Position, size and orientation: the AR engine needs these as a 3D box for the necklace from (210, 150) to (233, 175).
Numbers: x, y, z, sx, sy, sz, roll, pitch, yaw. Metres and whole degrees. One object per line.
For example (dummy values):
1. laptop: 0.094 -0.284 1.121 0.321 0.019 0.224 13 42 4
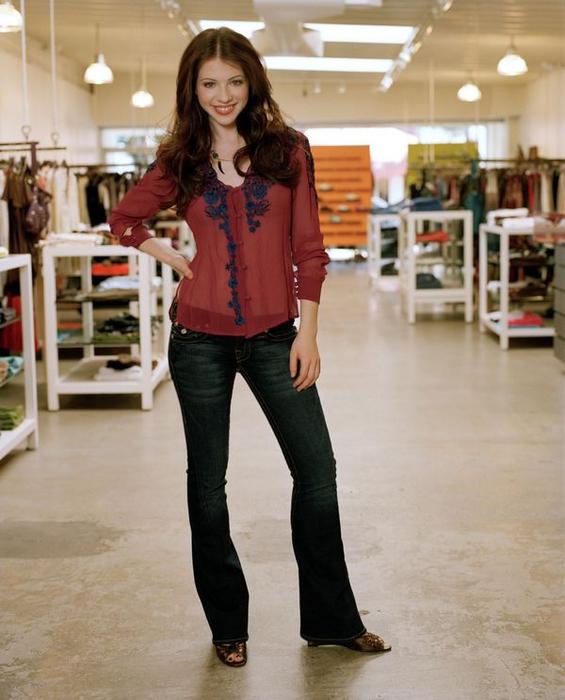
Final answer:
1. necklace: -0.116 -0.359 1.314 0.010 0.038 0.042 -27 -6 33

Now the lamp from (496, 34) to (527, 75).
1. lamp: 2.851 -3.618 8.426 0.352 0.488 0.508 1 9 17

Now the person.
1. person: -0.106 0.044 1.414 0.487 1.312 0.208 2 9 21

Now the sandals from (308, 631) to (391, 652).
1. sandals: 0.149 0.659 1.546 0.190 0.045 0.066 0 3 -2
